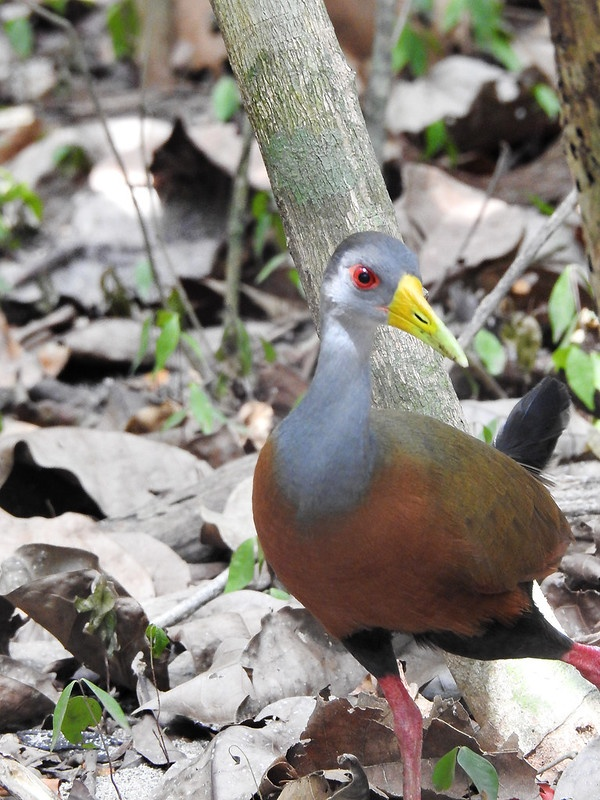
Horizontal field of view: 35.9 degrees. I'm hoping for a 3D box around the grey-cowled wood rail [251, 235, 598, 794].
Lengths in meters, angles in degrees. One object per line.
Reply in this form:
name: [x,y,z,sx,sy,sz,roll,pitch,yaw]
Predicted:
grey-cowled wood rail: [0.310,0.320,2.266,0.853,1.378,0.612,3,27,-3]
